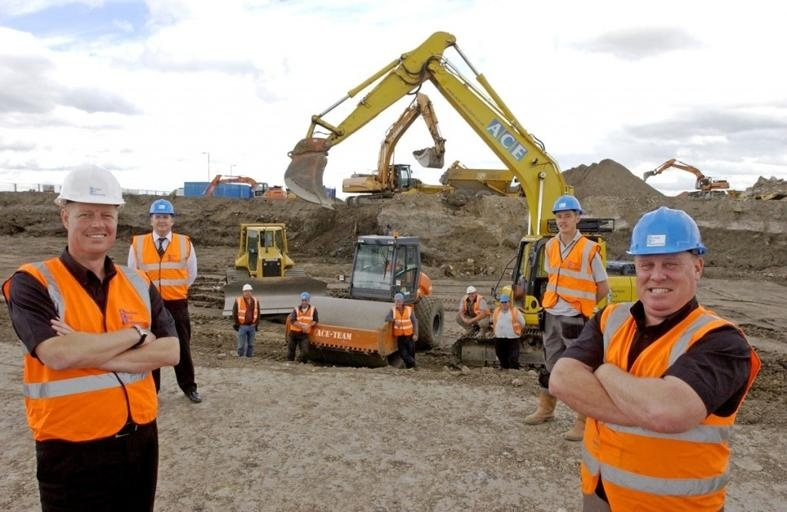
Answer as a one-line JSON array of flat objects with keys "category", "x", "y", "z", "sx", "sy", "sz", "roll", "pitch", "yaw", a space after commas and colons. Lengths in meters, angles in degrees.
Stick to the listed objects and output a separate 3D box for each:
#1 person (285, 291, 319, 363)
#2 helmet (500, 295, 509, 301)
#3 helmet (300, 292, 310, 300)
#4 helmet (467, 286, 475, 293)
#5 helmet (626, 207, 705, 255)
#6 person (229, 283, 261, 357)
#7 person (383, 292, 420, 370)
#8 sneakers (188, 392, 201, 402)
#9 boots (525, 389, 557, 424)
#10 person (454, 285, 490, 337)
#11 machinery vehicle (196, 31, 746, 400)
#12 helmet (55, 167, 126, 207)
[{"category": "person", "x": -1.492, "y": 1.228, "z": 9.919, "sx": 0.524, "sy": 1.179, "sz": 0.317, "roll": -1, "pitch": 14, "yaw": -9}, {"category": "helmet", "x": 1.766, "y": 0.676, "z": 9.441, "sx": 0.145, "sy": 0.106, "sz": 0.134, "roll": 3, "pitch": 13, "yaw": 9}, {"category": "helmet", "x": -1.475, "y": 0.690, "z": 10.023, "sx": 0.225, "sy": 0.169, "sz": 0.320, "roll": 2, "pitch": -7, "yaw": -9}, {"category": "helmet", "x": 1.454, "y": 0.632, "z": 11.242, "sx": 0.162, "sy": 0.115, "sz": 0.234, "roll": -4, "pitch": -7, "yaw": 25}, {"category": "helmet", "x": 1.699, "y": -0.161, "z": 3.753, "sx": 0.564, "sy": 0.268, "sz": 0.410, "roll": -2, "pitch": 5, "yaw": -43}, {"category": "person", "x": -2.540, "y": 1.217, "z": 10.348, "sx": 0.421, "sy": 1.316, "sz": 0.903, "roll": -2, "pitch": 13, "yaw": -14}, {"category": "person", "x": 0.146, "y": 1.285, "z": 9.946, "sx": 0.493, "sy": 1.197, "sz": 0.489, "roll": 2, "pitch": 13, "yaw": 2}, {"category": "sneakers", "x": -2.258, "y": 1.616, "z": 6.794, "sx": 0.201, "sy": 0.081, "sz": 0.076, "roll": -3, "pitch": 0, "yaw": 44}, {"category": "boots", "x": 1.612, "y": 1.667, "z": 6.569, "sx": 0.377, "sy": 0.349, "sz": 0.178, "roll": -8, "pitch": 19, "yaw": -23}, {"category": "person", "x": 1.578, "y": 1.053, "z": 11.396, "sx": 0.628, "sy": 0.913, "sz": 0.638, "roll": -18, "pitch": 15, "yaw": -41}, {"category": "machinery vehicle", "x": 1.513, "y": -1.931, "z": 16.332, "sx": 10.751, "sy": 8.567, "sz": 6.733, "roll": 0, "pitch": 9, "yaw": 1}, {"category": "helmet", "x": -2.079, "y": -0.493, "z": 4.125, "sx": 0.433, "sy": 0.284, "sz": 0.537, "roll": -1, "pitch": 5, "yaw": -29}]
